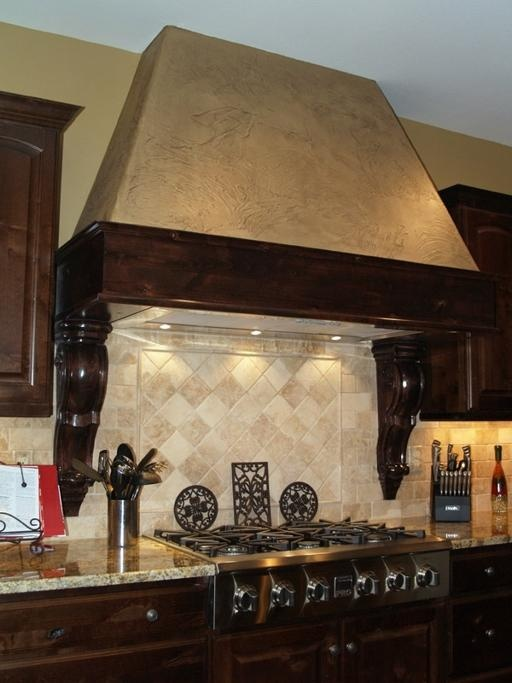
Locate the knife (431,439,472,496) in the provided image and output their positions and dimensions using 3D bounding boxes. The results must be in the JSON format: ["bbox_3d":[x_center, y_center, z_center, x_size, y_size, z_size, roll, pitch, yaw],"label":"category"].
[{"bbox_3d":[0.992,0.642,3.180,0.194,0.265,0.316,-3,-9,13],"label":"knife"}]

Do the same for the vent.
[{"bbox_3d":[0.066,-0.625,2.638,1.814,1.057,0.994,3,2,-35],"label":"vent"}]

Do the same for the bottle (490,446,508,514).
[{"bbox_3d":[1.245,0.710,3.209,0.076,0.342,0.199,-4,-10,19],"label":"bottle"}]

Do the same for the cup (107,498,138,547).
[{"bbox_3d":[-0.476,0.652,2.240,0.105,0.165,0.062,2,-9,-16],"label":"cup"}]
